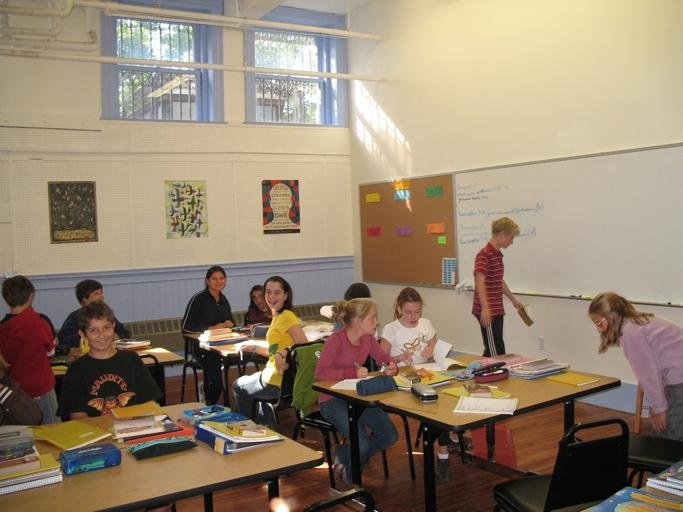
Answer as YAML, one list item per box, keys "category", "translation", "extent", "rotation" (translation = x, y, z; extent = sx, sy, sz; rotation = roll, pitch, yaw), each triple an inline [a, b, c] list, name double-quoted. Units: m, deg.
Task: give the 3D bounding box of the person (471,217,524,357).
- category: "person"
  translation: [1.544, 0.501, 5.379]
  extent: [0.540, 1.697, 0.514]
  rotation: [1, 7, 15]

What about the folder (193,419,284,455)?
- category: "folder"
  translation: [-0.521, 0.816, 2.664]
  extent: [0.428, 0.087, 0.358]
  rotation: [0, 4, -29]

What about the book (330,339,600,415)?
- category: "book"
  translation: [0.986, 0.826, 3.356]
  extent: [0.701, 0.161, 0.662]
  rotation: [-2, 0, -37]

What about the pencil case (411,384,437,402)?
- category: "pencil case"
  translation: [0.491, 0.787, 3.148]
  extent: [0.077, 0.048, 0.134]
  rotation: [-4, 6, -21]
